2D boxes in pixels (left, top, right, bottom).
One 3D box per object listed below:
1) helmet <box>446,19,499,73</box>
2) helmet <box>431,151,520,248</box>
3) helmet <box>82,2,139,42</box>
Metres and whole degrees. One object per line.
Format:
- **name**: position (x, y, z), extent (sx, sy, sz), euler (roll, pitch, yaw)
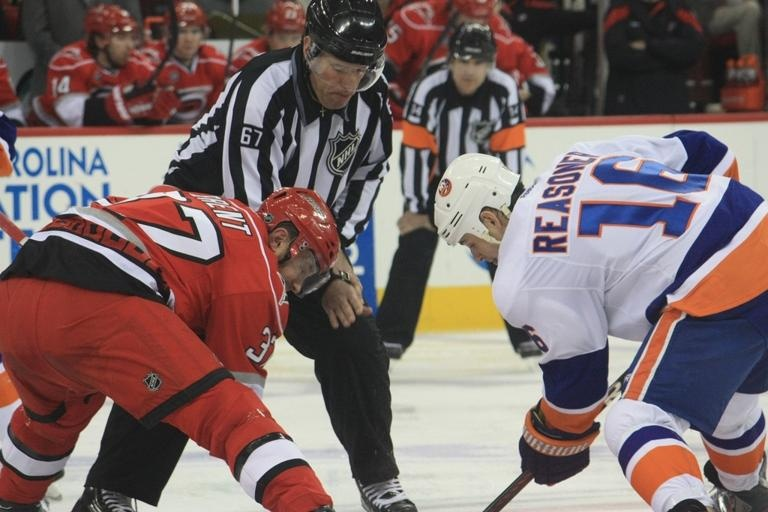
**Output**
- **helmet**: position (0.564, -1.346, 7.570), extent (0.238, 0.294, 0.267), euler (2, 32, -2)
- **helmet**: position (0.429, -0.250, 5.243), extent (0.401, 0.364, 0.322), euler (18, 7, 11)
- **helmet**: position (-1.684, -1.431, 7.319), extent (0.261, 0.156, 0.170), euler (4, 23, -6)
